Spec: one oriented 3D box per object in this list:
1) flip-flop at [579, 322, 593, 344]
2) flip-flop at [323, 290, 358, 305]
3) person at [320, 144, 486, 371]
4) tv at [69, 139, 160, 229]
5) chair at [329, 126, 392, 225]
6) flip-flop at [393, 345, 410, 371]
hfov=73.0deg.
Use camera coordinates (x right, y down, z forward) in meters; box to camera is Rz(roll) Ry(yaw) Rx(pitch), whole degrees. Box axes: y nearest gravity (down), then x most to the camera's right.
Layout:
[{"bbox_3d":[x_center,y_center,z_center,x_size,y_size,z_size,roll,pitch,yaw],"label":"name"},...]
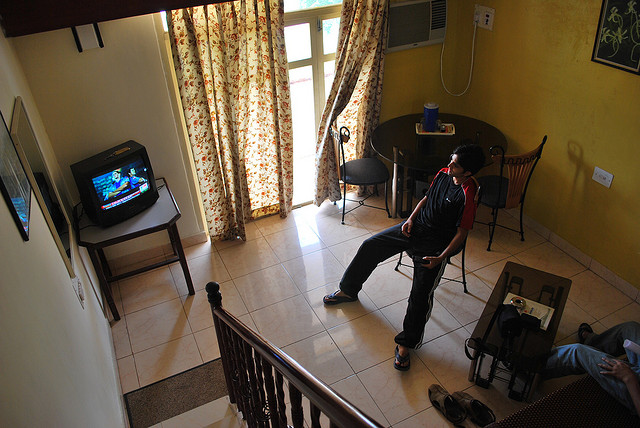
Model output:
[{"bbox_3d":[2.548,1.160,4.159,0.089,0.072,0.248,-4,57,21],"label":"flip-flop"},{"bbox_3d":[0.231,0.912,4.734,0.354,0.131,0.131,0,42,-2],"label":"flip-flop"},{"bbox_3d":[0.858,0.255,4.276,1.175,1.829,1.018,-28,37,-33],"label":"person"},{"bbox_3d":[-2.241,-0.394,4.637,0.727,0.759,0.560,-33,66,-32],"label":"tv"},{"bbox_3d":[0.508,-0.518,5.652,0.608,1.040,0.669,-9,53,1],"label":"chair"},{"bbox_3d":[0.772,1.366,4.133,0.154,0.136,0.181,0,31,9],"label":"flip-flop"}]
